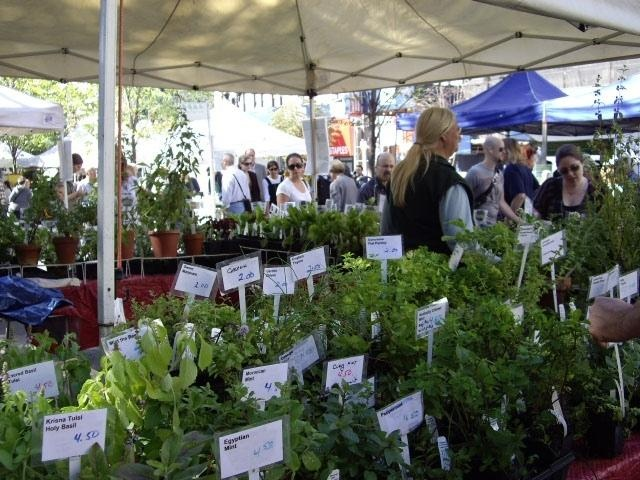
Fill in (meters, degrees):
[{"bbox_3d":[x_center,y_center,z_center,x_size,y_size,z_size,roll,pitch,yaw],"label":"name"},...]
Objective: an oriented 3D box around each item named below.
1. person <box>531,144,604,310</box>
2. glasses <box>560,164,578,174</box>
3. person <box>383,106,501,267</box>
[{"bbox_3d":[2.297,0.068,4.988,0.642,1.846,0.587,8,16,28],"label":"person"},{"bbox_3d":[2.231,-0.634,4.686,0.085,0.027,0.091,-31,-4,37],"label":"glasses"},{"bbox_3d":[0.731,-0.396,3.532,0.549,0.974,0.362,-2,4,25],"label":"person"}]
